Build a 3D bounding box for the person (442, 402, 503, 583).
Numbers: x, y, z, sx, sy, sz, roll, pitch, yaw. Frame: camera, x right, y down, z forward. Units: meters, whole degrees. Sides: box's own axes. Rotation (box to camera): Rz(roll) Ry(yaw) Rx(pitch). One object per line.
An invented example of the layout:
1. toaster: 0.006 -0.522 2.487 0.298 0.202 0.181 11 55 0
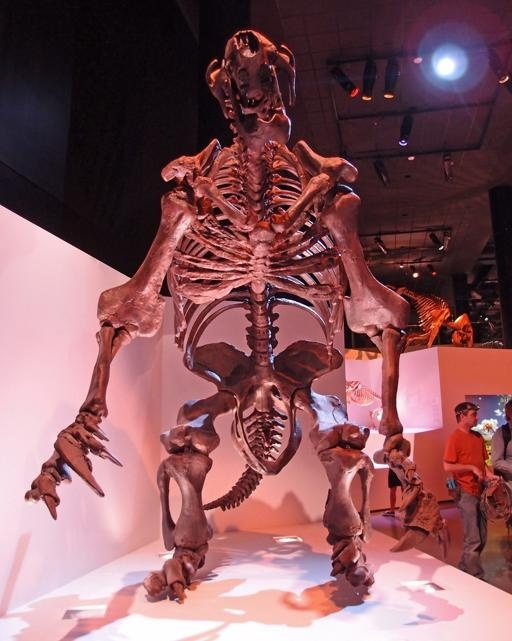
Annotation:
1. person: 1.302 0.984 3.519 0.267 0.943 0.583 -3 -11 16
